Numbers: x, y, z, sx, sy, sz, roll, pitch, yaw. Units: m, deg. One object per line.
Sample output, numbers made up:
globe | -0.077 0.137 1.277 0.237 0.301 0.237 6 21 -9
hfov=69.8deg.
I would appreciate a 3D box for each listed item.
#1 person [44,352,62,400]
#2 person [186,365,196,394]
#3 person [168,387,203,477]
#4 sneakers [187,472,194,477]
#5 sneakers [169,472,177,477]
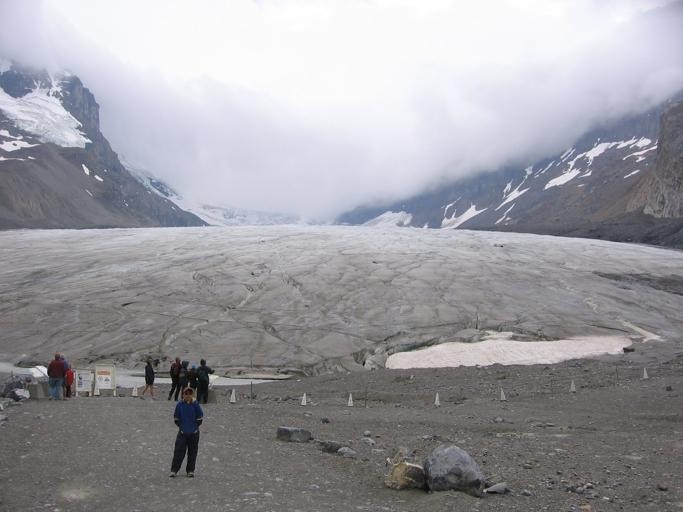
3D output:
person | -10.683 4.480 18.389 0.575 1.703 1.228 -3 -6 -30
person | -5.532 4.502 18.144 0.398 0.873 0.743 7 5 -10
person | -3.486 3.825 10.874 0.750 1.857 0.880 -4 -6 -19
sneakers | -3.258 4.677 10.588 0.105 0.044 0.123 -2 -3 0
sneakers | -3.600 4.636 10.477 0.085 0.061 0.154 6 -22 -19
